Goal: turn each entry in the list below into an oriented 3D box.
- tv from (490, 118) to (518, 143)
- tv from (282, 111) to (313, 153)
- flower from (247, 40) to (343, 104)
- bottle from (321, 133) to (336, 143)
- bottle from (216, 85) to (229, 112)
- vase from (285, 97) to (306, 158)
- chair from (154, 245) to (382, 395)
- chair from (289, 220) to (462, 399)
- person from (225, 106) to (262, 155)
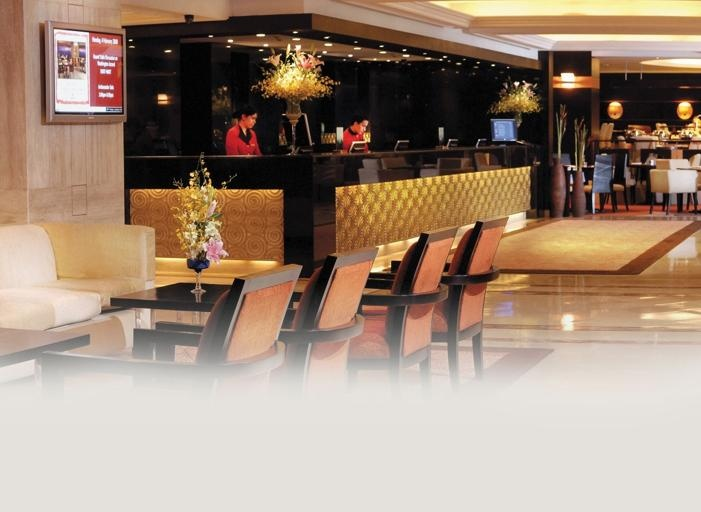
[{"bbox_3d":[4.150,-3.423,15.188,0.999,0.752,0.620,1,6,4],"label":"tv"},{"bbox_3d":[-0.846,-1.941,8.603,0.574,0.544,0.417,2,8,16],"label":"tv"},{"bbox_3d":[-0.969,-2.866,8.867,1.333,0.826,1.268,-1,29,-5],"label":"flower"},{"bbox_3d":[-0.639,-3.204,14.962,0.592,0.323,0.282,1,9,-6],"label":"bottle"},{"bbox_3d":[-2.587,-3.150,10.931,0.071,0.571,0.462,-1,2,24],"label":"bottle"},{"bbox_3d":[-0.859,-1.973,8.268,0.236,0.900,0.436,-2,2,-5],"label":"vase"},{"bbox_3d":[-0.412,0.467,2.854,0.948,0.968,0.852,2,2,28],"label":"chair"},{"bbox_3d":[0.225,0.249,3.958,1.161,1.294,1.082,2,3,17],"label":"chair"},{"bbox_3d":[-1.819,-2.111,9.457,0.534,0.802,0.685,-1,2,17],"label":"person"}]
